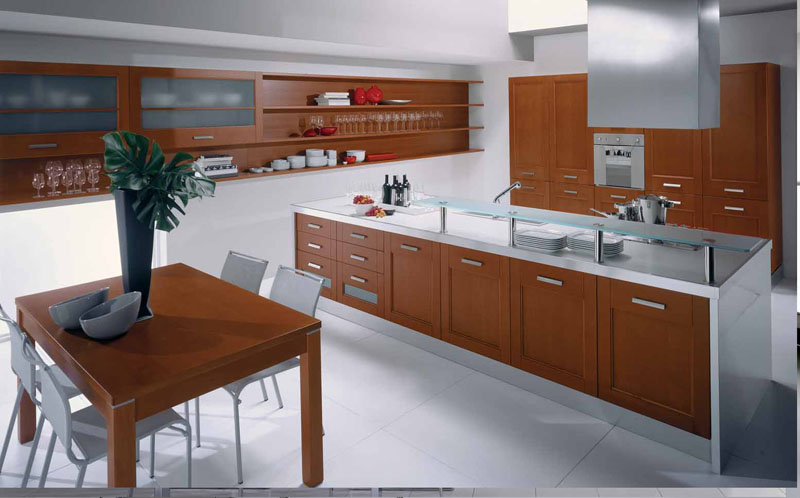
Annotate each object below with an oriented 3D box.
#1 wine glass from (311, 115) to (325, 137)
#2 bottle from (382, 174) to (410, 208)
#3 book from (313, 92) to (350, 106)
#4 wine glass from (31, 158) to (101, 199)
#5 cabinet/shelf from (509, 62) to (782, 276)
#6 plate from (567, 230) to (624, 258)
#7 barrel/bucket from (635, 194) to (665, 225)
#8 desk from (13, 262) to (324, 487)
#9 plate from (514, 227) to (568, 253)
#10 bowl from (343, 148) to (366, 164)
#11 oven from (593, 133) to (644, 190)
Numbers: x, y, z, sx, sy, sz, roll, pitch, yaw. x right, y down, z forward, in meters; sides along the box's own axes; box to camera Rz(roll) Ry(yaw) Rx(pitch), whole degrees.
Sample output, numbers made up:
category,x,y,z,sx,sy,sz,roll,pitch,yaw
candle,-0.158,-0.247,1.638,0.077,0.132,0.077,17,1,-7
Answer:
category,x,y,z,sx,sy,sz,roll,pitch,yaw
wine glass,-0.992,-1.506,6.503,0.104,0.216,0.204,8,15,38
bottle,-0.044,-0.627,5.801,0.322,0.308,0.235,-1,12,0
book,-0.813,-1.806,6.435,0.272,0.089,0.261,1,8,-4
wine glass,-3.115,-0.661,4.963,0.894,0.305,0.274,2,3,40
cabinet/shelf,2.532,-0.799,5.265,2.725,1.761,0.614,5,5,43
plate,1.624,-0.037,4.312,0.453,0.159,0.326,-6,13,-23
barrel/bucket,2.165,-0.325,4.572,0.316,0.298,0.241,2,7,39
desk,-1.475,0.603,3.643,1.504,1.103,2.117,-11,17,-41
plate,1.160,-0.065,4.401,0.293,0.088,0.232,5,9,35
bowl,-0.601,-1.175,6.797,0.215,0.119,0.208,0,9,0
oven,2.737,-1.108,6.692,0.667,0.607,0.468,2,6,15
